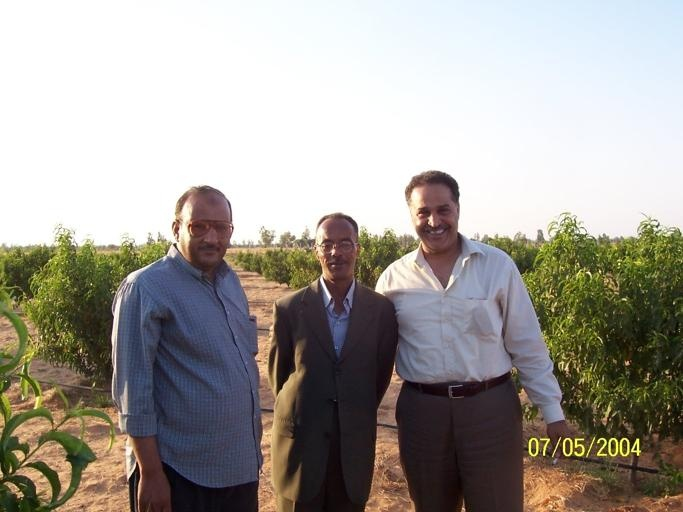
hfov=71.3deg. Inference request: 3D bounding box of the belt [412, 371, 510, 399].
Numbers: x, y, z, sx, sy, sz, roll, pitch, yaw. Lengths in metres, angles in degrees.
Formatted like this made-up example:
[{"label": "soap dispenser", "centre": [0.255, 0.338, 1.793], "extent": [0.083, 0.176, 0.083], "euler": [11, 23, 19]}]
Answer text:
[{"label": "belt", "centre": [0.931, 1.047, 3.819], "extent": [0.853, 0.134, 0.242], "euler": [-5, -7, 6]}]
